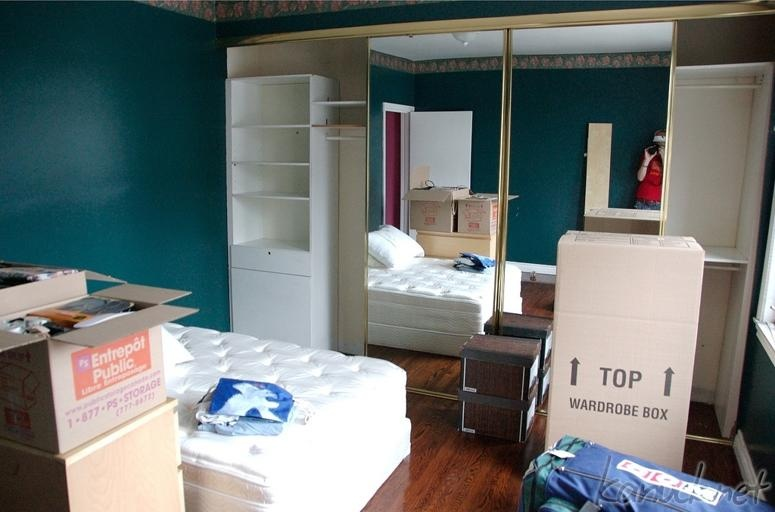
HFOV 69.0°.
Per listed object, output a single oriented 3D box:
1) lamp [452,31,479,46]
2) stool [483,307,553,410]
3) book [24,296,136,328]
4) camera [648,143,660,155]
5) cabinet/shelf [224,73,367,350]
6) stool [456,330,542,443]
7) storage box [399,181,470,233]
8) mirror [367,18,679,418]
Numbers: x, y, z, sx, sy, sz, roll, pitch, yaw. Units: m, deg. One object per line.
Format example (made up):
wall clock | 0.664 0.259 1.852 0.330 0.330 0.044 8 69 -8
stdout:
lamp | 0.569 -1.647 4.240 0.119 0.094 0.111 -3 26 7
stool | 0.950 0.734 4.608 0.586 0.688 0.577 -11 54 4
book | -1.387 0.248 2.572 0.209 0.048 0.220 4 16 18
camera | 1.828 -0.738 3.879 0.061 0.079 0.025 22 19 26
cabinet/shelf | -0.801 -0.354 4.981 1.307 2.364 0.599 10 14 33
stool | 0.776 0.937 4.009 0.534 0.634 0.297 4 12 8
storage box | 0.400 -0.386 4.693 0.418 0.368 0.571 1 2 21
mirror | 0.996 -0.359 3.958 3.019 2.886 0.056 6 12 21
